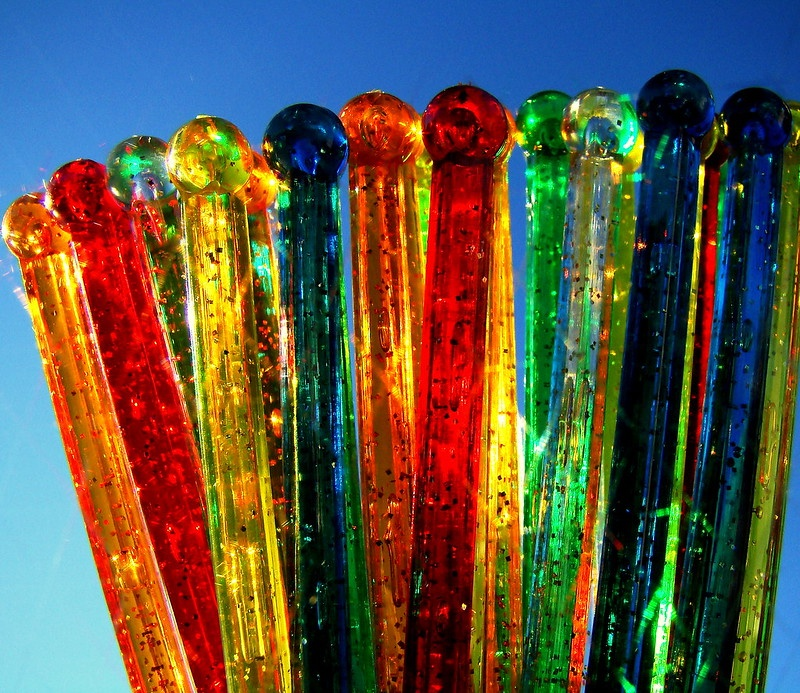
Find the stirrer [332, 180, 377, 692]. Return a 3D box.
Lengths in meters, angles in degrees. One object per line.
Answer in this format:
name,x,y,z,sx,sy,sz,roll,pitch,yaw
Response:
stirrer,-0.082,0.158,1.825,0.070,0.908,0.082,-1,-3,-4
